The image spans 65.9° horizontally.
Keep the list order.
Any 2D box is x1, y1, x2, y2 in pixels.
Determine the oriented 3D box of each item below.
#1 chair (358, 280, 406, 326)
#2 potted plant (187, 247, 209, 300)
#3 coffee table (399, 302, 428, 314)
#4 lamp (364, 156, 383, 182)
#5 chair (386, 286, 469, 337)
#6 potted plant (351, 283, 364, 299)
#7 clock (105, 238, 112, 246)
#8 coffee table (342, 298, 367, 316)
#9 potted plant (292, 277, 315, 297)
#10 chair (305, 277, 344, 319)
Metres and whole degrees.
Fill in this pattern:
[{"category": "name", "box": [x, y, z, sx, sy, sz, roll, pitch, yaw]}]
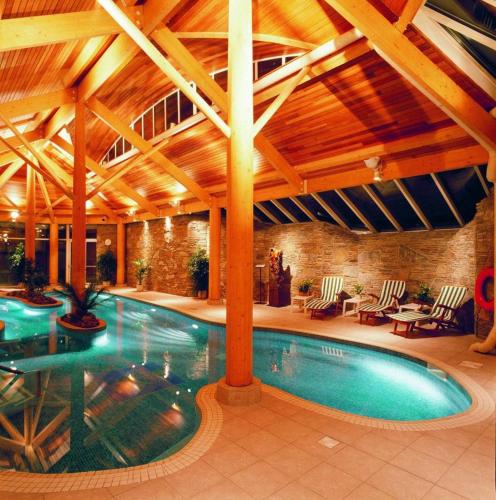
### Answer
[{"category": "chair", "box": [3.054, 1.167, 8.643, 1.211, 0.706, 0.635, -12, 4, -35]}, {"category": "potted plant", "box": [-1.556, 0.788, 12.174, 0.629, 1.482, 0.531, -3, 7, -9]}, {"category": "coffee table", "box": [3.602, 1.237, 8.310, 0.619, 0.179, 0.416, 1, 1, -39]}, {"category": "lamp", "box": [2.254, -1.437, 6.840, 0.281, 0.430, 0.591, 1, 7, 20]}, {"category": "chair", "box": [3.468, 1.162, 7.335, 1.395, 0.684, 0.633, -10, 1, -10]}, {"category": "potted plant", "box": [2.753, 1.022, 9.550, 0.423, 0.348, 0.369, 3, -5, 1]}, {"category": "clock", "box": [-5.900, -0.294, 16.146, 0.286, 0.315, 0.237, -4, 7, -21]}, {"category": "coffee table", "box": [2.640, 1.397, 9.630, 0.555, 0.338, 0.806, 5, 7, 35]}, {"category": "potted plant", "box": [1.480, 0.973, 10.281, 0.560, 0.443, 0.410, 1, 3, -20]}, {"category": "chair", "box": [1.827, 1.160, 9.178, 0.766, 0.759, 1.249, 2, 5, 31]}]
